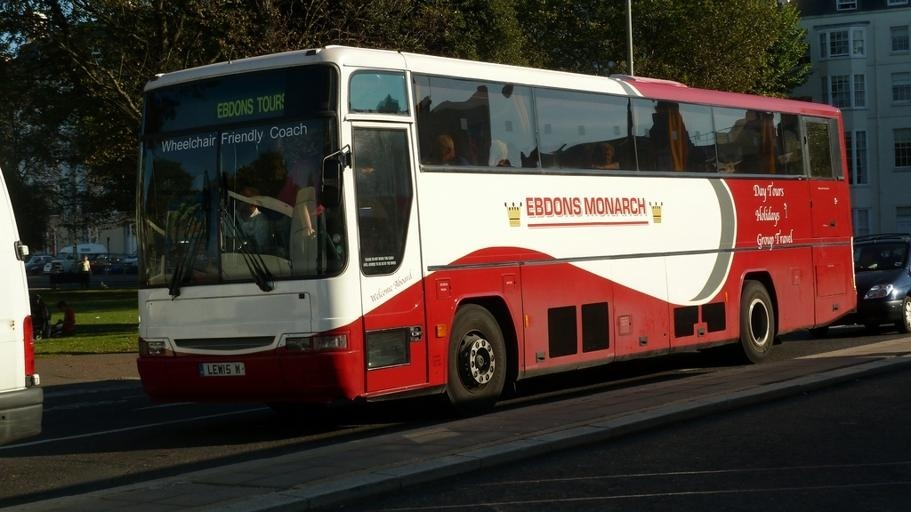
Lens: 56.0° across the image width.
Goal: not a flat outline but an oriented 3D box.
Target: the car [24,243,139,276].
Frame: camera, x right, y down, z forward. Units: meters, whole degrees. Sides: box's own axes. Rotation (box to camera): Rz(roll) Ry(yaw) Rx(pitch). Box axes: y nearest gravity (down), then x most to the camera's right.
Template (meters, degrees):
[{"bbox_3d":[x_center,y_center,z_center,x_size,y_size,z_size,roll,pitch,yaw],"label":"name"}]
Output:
[{"bbox_3d":[-31.387,0.422,71.791,8.473,2.427,3.000,1,0,13],"label":"car"}]

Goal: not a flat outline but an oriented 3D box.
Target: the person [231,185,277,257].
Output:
[{"bbox_3d":[-3.522,-0.609,14.931,0.774,1.157,0.210,1,6,35],"label":"person"}]
